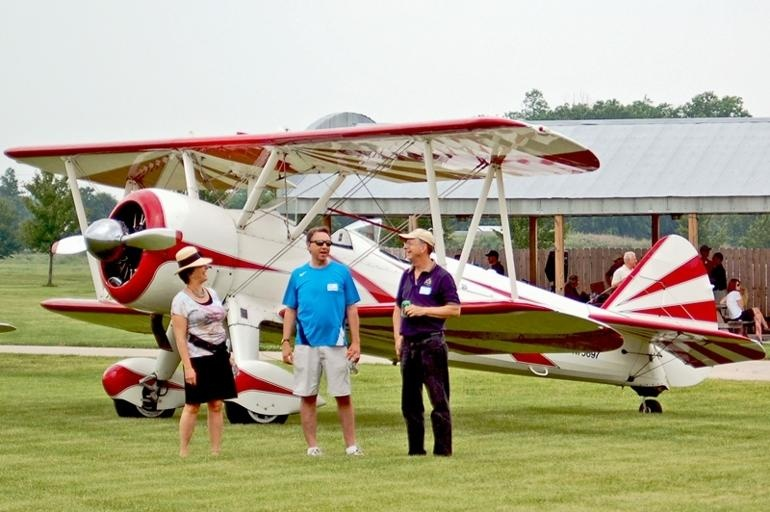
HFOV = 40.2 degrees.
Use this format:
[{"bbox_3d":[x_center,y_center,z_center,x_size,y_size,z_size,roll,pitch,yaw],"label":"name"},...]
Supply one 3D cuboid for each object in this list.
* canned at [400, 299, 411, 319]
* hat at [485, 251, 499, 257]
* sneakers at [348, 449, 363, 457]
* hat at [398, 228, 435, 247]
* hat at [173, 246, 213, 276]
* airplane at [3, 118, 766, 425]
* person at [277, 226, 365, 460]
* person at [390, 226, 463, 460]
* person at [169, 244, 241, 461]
[{"bbox_3d":[0.195,0.533,10.787,0.077,0.156,0.123,-2,-32,4],"label":"canned"},{"bbox_3d":[2.009,-0.068,19.634,0.072,0.144,0.195,-2,-3,-36],"label":"hat"},{"bbox_3d":[-0.320,2.025,10.849,0.073,0.050,0.126,2,-8,-39],"label":"sneakers"},{"bbox_3d":[0.331,-0.206,10.836,0.314,0.107,0.186,8,-6,-3],"label":"hat"},{"bbox_3d":[-2.033,0.037,10.845,0.341,0.164,0.340,-15,10,40],"label":"hat"},{"bbox_3d":[0.142,0.142,13.776,5.947,1.994,6.228,4,-4,-41],"label":"airplane"},{"bbox_3d":[-0.642,0.864,10.925,0.875,2.343,0.433,3,2,-5],"label":"person"},{"bbox_3d":[0.404,0.885,10.847,0.676,2.330,0.371,3,2,4],"label":"person"},{"bbox_3d":[-1.859,0.974,10.812,0.668,2.126,0.369,3,2,-7],"label":"person"}]
